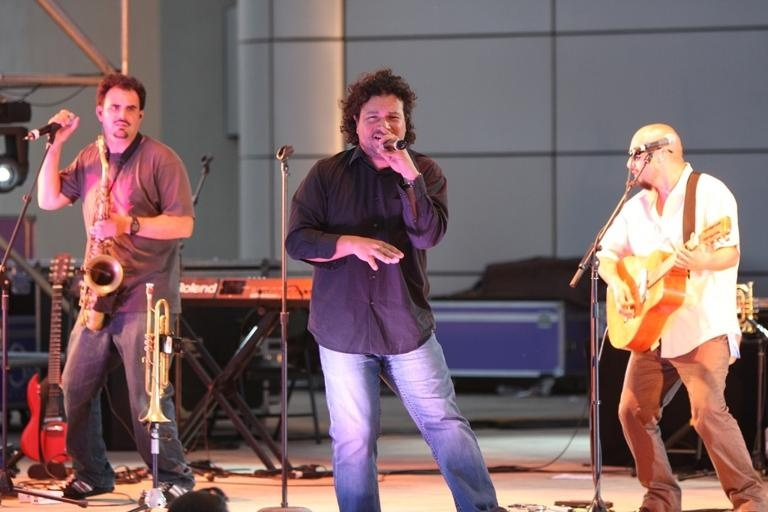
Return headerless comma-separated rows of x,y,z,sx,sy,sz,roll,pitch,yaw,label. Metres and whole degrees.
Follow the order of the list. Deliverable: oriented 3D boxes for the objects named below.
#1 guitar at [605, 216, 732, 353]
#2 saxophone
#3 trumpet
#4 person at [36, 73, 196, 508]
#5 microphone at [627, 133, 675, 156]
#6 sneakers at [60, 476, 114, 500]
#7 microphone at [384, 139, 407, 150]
2.147,0.301,9.615,0.190,0.668,1.196,6,-28,-25,guitar
-2.254,-0.198,9.836,0.342,1.398,0.370,-1,1,-18,saxophone
-1.789,0.776,9.740,0.262,0.981,0.254,-1,1,-26,trumpet
-2.192,0.254,9.954,1.266,3.520,1.047,-1,-3,-1,person
2.121,-0.878,9.622,0.347,0.168,0.112,-1,0,-6,microphone
-2.447,1.929,10.177,0.411,0.182,0.153,9,-12,-20,sneakers
0.099,-0.819,8.948,0.075,0.058,0.128,-4,-1,-36,microphone
